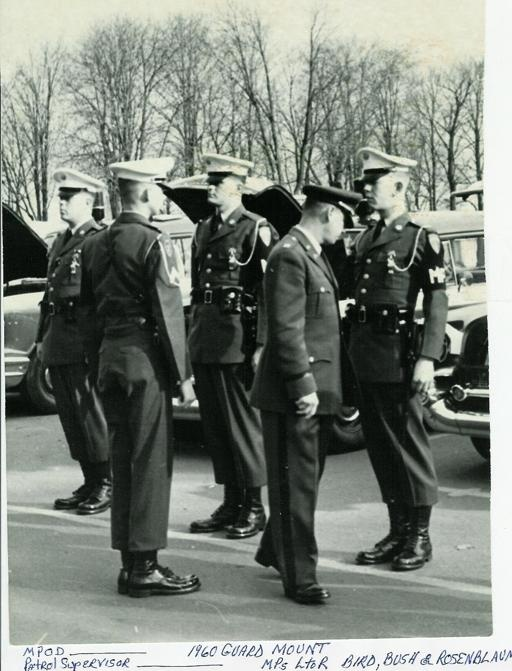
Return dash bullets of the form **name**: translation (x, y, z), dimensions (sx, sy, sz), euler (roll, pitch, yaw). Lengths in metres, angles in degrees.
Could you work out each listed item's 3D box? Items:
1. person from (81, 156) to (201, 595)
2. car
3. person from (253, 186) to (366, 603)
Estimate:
- **person**: translation (-0.424, 0.136, 3.748), dimensions (0.316, 1.528, 0.407), euler (-3, 5, -30)
- **car**: translation (-0.025, -0.056, 4.010), dimensions (1.671, 0.772, 1.034), euler (-1, -1, 17)
- **person**: translation (0.137, 0.284, 3.608), dimensions (0.315, 1.317, 0.242), euler (0, 5, 0)
